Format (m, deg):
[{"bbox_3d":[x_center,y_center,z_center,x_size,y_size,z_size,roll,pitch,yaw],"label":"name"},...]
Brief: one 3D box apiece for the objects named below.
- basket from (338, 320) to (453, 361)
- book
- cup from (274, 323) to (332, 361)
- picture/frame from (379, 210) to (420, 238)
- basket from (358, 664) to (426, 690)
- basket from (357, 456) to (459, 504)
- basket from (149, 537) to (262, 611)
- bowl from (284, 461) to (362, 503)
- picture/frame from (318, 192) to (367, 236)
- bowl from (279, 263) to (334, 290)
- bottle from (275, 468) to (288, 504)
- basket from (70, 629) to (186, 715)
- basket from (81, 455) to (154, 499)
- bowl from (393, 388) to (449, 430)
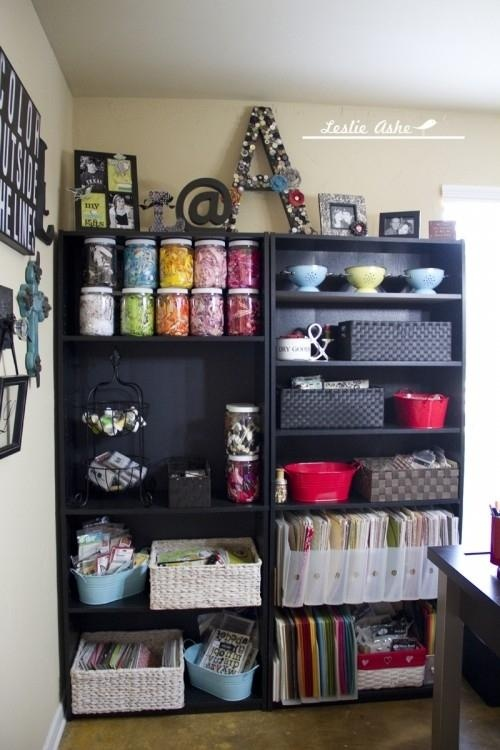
[{"bbox_3d":[0.565,-0.126,2.394,0.441,0.158,0.179,1,5,9],"label":"basket"},{"bbox_3d":[-0.085,1.054,2.429,0.225,0.085,0.335,0,5,0],"label":"book"},{"bbox_3d":[0.210,-0.125,2.442,0.217,0.170,0.125,0,-1,-11],"label":"cup"},{"bbox_3d":[0.604,-0.602,2.480,0.136,0.121,0.014,1,-7,7],"label":"picture/frame"},{"bbox_3d":[0.537,1.161,2.359,0.133,0.045,0.137,-1,-8,-6],"label":"basket"},{"bbox_3d":[0.619,0.414,2.514,0.376,0.148,0.281,-1,5,-10],"label":"basket"},{"bbox_3d":[-0.177,0.769,2.410,0.420,0.190,0.348,-1,5,-7],"label":"basket"},{"bbox_3d":[0.286,0.423,2.470,0.270,0.125,0.316,1,5,9],"label":"bowl"},{"bbox_3d":[0.373,-0.646,2.496,0.225,0.238,0.024,2,-12,-16],"label":"picture/frame"},{"bbox_3d":[0.209,-0.373,2.387,0.159,0.092,0.083,0,5,4],"label":"bowl"},{"bbox_3d":[0.117,0.424,2.342,0.042,0.127,0.065,0,5,5],"label":"bottle"},{"bbox_3d":[-0.464,1.140,2.377,0.416,0.205,0.360,-1,5,-7],"label":"basket"},{"bbox_3d":[-0.514,0.382,2.335,0.153,0.066,0.163,12,-6,16],"label":"basket"},{"bbox_3d":[0.684,0.141,2.457,0.161,0.111,0.137,3,3,2],"label":"bowl"}]
